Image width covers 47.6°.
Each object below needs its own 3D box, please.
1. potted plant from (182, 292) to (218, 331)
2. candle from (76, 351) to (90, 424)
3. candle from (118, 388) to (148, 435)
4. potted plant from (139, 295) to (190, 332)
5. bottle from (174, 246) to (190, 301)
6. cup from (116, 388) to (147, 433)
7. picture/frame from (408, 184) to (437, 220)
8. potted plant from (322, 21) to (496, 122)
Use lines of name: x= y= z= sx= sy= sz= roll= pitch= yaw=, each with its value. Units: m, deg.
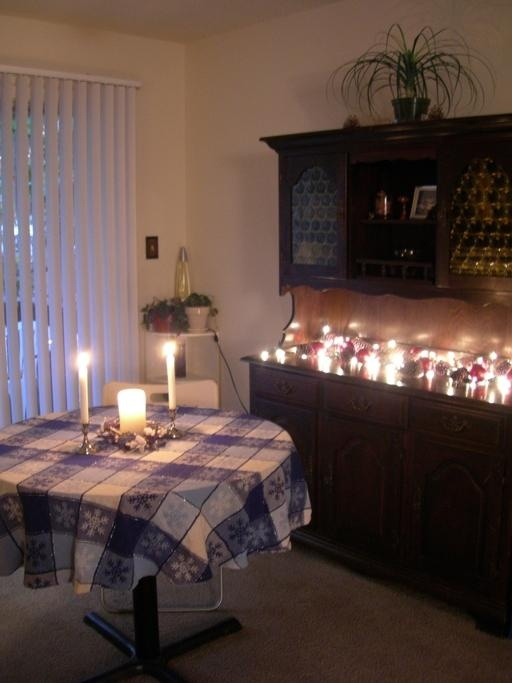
potted plant: x=-0.327 y=-0.175 z=3.446 sx=0.193 sy=0.274 sz=0.206 roll=-6 pitch=5 yaw=-5
candle: x=-0.461 y=0.135 z=1.560 sx=0.031 sy=0.180 sz=0.031 roll=2 pitch=-7 yaw=-38
candle: x=-0.359 y=0.184 z=1.688 sx=0.072 sy=0.142 sz=0.072 roll=-10 pitch=25 yaw=-40
potted plant: x=-0.558 y=-0.153 z=3.448 sx=0.323 sy=0.202 sz=0.180 roll=2 pitch=4 yaw=35
bottle: x=-0.458 y=-0.432 z=3.629 sx=0.105 sy=0.322 sz=0.112 roll=0 pitch=3 yaw=0
cup: x=-0.362 y=0.206 z=1.688 sx=0.070 sy=0.145 sz=0.076 roll=1 pitch=16 yaw=0
picture/frame: x=0.638 y=-0.537 z=2.230 sx=0.089 sy=0.153 sz=0.140 roll=1 pitch=3 yaw=13
potted plant: x=0.619 y=-1.059 z=2.418 sx=0.422 sy=0.353 sz=0.503 roll=1 pitch=6 yaw=28
